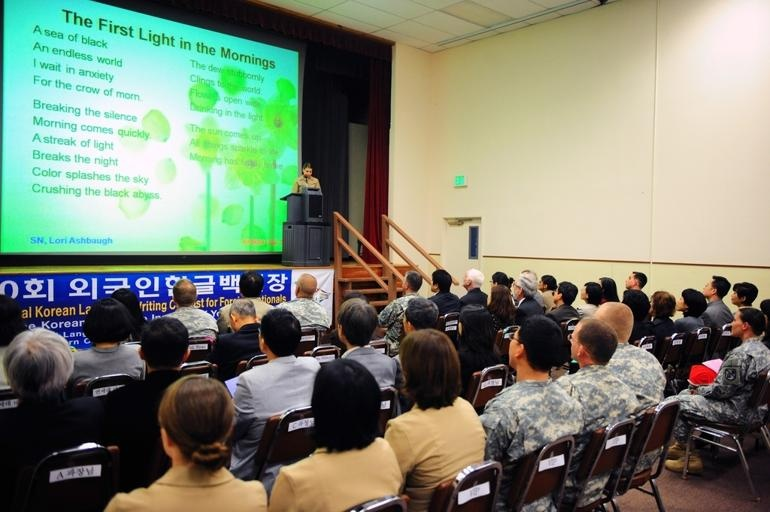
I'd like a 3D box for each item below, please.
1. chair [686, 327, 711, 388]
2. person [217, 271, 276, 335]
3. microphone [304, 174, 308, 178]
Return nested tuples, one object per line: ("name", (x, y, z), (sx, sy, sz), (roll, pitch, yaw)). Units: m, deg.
("chair", (3.112, 1.000, 5.300), (0.267, 0.580, 0.344), (-1, -11, 9))
("person", (-1.448, 0.579, 5.713), (0.543, 0.857, 0.462), (3, 20, -16))
("microphone", (-1.407, -1.421, 9.443), (0.052, 0.040, 0.030), (1, 7, 28))
